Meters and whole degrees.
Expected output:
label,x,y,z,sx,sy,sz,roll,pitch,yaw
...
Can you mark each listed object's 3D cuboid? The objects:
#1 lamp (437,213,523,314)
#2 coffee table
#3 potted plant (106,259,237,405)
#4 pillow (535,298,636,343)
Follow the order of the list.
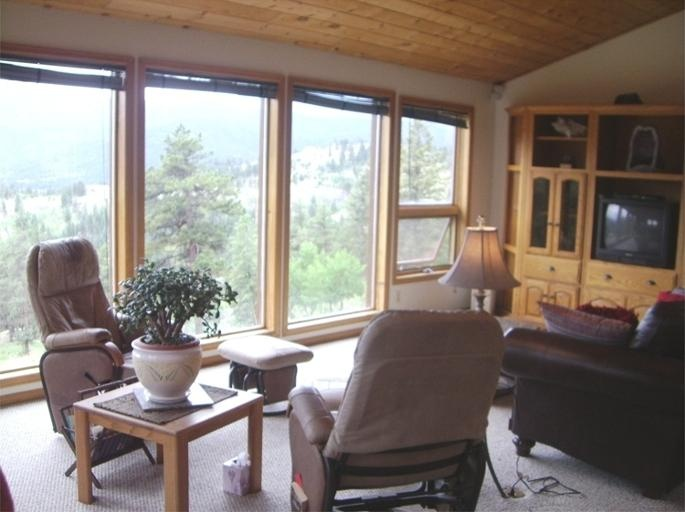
label,x,y,z,sx,sy,sz,roll,pitch,yaw
lamp,0.831,0.075,3.778,0.546,0.712,0.560,-1,-2,-10
coffee table,-0.872,0.832,2.852,0.681,0.529,0.666,2,3,35
potted plant,-0.911,0.401,2.893,0.571,0.667,0.520,2,0,3
pillow,1.335,0.377,3.093,0.258,0.118,0.297,22,4,-26
